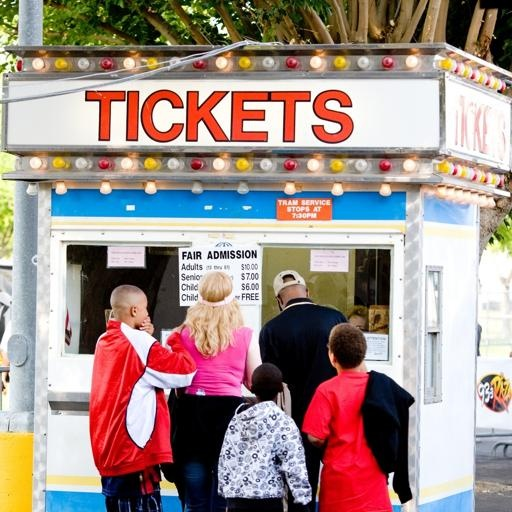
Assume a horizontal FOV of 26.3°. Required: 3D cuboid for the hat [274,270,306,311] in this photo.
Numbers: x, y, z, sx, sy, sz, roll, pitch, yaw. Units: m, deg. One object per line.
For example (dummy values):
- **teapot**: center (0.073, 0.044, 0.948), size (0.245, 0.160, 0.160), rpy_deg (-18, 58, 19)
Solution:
- **hat**: center (0.226, 0.229, 7.450), size (0.281, 0.216, 0.465), rpy_deg (-6, 4, 0)
